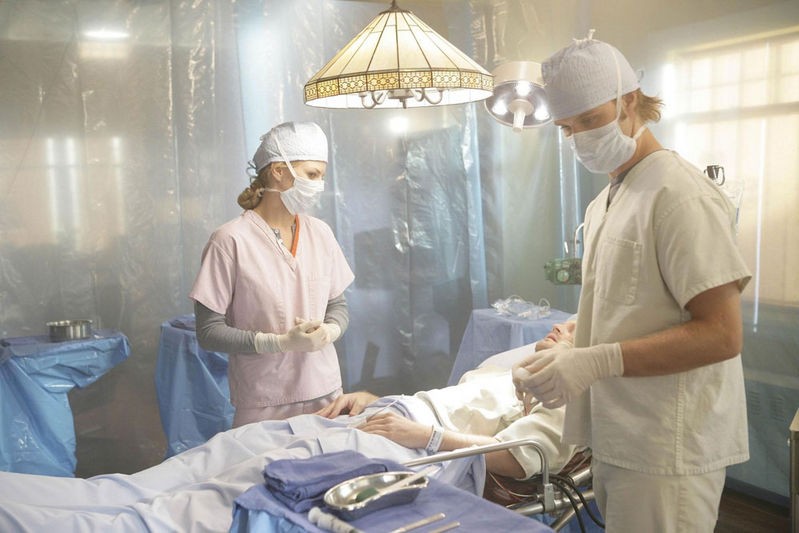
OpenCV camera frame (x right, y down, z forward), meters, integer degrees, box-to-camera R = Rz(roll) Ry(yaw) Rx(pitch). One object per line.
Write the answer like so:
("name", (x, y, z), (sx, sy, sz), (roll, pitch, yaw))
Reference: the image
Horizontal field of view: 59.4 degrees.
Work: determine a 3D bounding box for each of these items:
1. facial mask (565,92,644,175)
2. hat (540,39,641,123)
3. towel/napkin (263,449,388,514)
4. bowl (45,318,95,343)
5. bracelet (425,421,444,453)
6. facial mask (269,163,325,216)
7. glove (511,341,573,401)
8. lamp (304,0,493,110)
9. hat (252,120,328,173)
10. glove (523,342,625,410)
("facial mask", (0.816, -0.489, 2.816), (0.288, 0.175, 0.237), (-38, 9, -8))
("hat", (0.793, -0.740, 2.887), (0.325, 0.259, 0.317), (-35, 18, -34))
("towel/napkin", (-0.308, 0.791, 2.671), (0.243, 0.080, 0.240), (-5, 5, -37))
("bowl", (-2.010, 0.396, 4.328), (0.179, 0.084, 0.192), (0, -1, 0))
("bracelet", (0.150, 0.794, 3.257), (0.041, 0.108, 0.078), (12, 16, -5))
("facial mask", (-0.483, -0.355, 3.466), (0.229, 0.180, 0.204), (28, 8, 0))
("glove", (0.586, 0.440, 2.895), (0.192, 0.206, 0.276), (-8, -13, -40))
("lamp", (0.018, -0.830, 2.997), (0.558, 0.389, 0.604), (-1, 7, 14))
("hat", (-0.542, -0.565, 3.514), (0.292, 0.195, 0.244), (-19, 4, 7))
("glove", (0.657, 0.396, 2.710), (0.345, 0.147, 0.227), (-20, 50, -13))
